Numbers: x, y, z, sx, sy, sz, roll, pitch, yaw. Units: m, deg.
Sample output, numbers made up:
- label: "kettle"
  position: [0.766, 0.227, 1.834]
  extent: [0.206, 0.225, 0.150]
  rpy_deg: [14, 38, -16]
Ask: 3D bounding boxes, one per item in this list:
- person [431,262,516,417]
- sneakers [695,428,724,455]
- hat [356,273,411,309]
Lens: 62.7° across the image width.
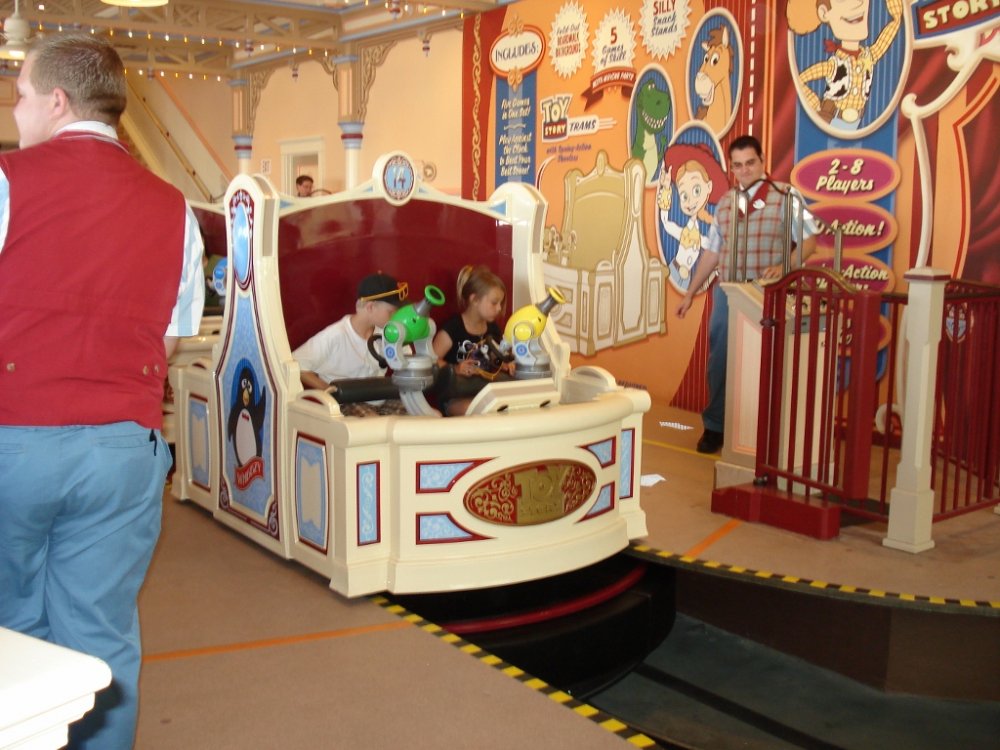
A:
- label: "person"
  position: [-0.093, -0.169, 4.062]
  extent: [0.490, 0.759, 0.476]
  rpy_deg: [5, 1, -11]
- label: "sneakers"
  position: [1.373, 0.433, 5.373]
  extent: [0.162, 0.181, 0.119]
  rpy_deg: [-1, 9, -10]
- label: "hat"
  position: [-0.565, -0.410, 3.984]
  extent: [0.196, 0.136, 0.156]
  rpy_deg: [-5, 14, -22]
